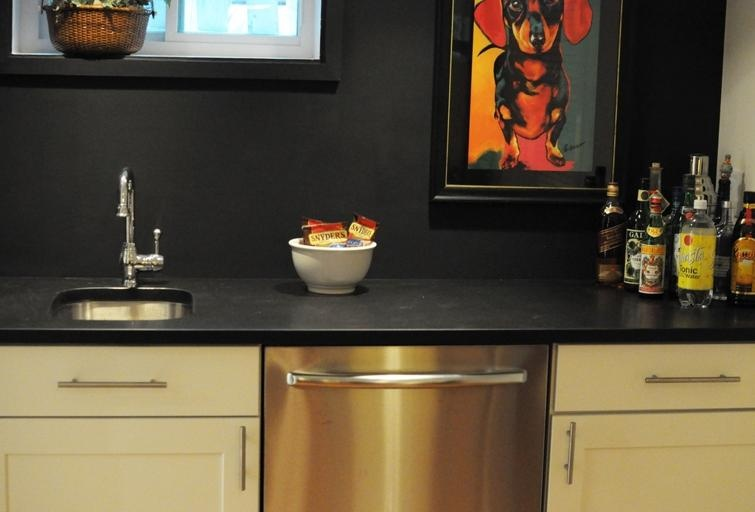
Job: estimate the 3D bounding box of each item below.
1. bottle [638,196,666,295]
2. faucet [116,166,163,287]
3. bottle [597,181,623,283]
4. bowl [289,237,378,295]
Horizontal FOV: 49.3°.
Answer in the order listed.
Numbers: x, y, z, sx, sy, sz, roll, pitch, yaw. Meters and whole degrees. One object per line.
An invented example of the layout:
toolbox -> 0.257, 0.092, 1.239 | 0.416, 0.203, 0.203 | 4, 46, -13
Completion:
bottle -> 0.976, -0.045, 2.904 | 0.089, 0.354, 0.145 | 3, 8, 19
faucet -> -0.859, -0.104, 2.976 | 0.165, 0.422, 0.203 | -2, 8, -17
bottle -> 0.860, -0.085, 3.088 | 0.091, 0.376, 0.113 | -3, 9, -27
bowl -> -0.159, 0.039, 2.900 | 0.224, 0.124, 0.221 | 1, -5, 0
